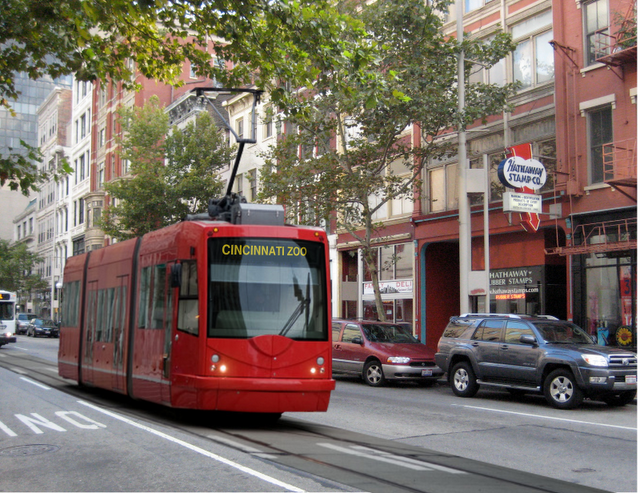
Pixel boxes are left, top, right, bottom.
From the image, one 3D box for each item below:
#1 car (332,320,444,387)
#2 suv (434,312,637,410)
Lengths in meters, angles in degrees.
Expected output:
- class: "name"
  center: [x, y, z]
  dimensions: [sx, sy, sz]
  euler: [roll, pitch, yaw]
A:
- class: "car"
  center: [1.969, 3.187, 21.967]
  dimensions: [1.495, 1.985, 3.209]
  euler: [8, -11, -43]
- class: "suv"
  center: [5.336, 2.744, 18.052]
  dimensions: [1.425, 2.315, 4.863]
  euler: [6, -10, -37]
